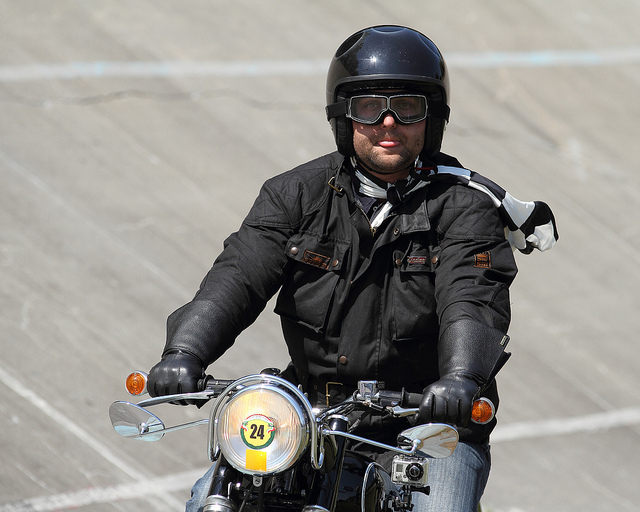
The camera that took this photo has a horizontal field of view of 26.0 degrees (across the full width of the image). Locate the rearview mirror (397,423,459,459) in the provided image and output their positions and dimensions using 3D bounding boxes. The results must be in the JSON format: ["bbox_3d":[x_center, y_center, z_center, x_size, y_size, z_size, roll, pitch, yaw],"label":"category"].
[{"bbox_3d":[0.566,0.913,6.945,0.256,0.183,0.250,10,15,27],"label":"rearview mirror"}]

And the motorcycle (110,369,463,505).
[{"bbox_3d":[-0.100,0.897,7.562,1.443,0.964,1.710,0,-4,15],"label":"motorcycle"}]

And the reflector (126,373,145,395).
[{"bbox_3d":[-0.967,0.665,7.224,0.123,0.099,0.054,1,-2,-3],"label":"reflector"}]

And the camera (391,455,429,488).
[{"bbox_3d":[0.468,1.085,7.105,0.197,0.144,0.099,1,5,15],"label":"camera"}]

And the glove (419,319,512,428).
[{"bbox_3d":[0.724,0.626,7.343,0.409,0.253,0.664,20,48,14],"label":"glove"}]

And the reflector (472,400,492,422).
[{"bbox_3d":[0.822,0.784,7.051,0.120,0.097,0.059,-1,4,6],"label":"reflector"}]

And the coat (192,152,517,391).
[{"bbox_3d":[0.238,0.125,7.809,1.901,1.151,1.320,7,25,22],"label":"coat"}]
